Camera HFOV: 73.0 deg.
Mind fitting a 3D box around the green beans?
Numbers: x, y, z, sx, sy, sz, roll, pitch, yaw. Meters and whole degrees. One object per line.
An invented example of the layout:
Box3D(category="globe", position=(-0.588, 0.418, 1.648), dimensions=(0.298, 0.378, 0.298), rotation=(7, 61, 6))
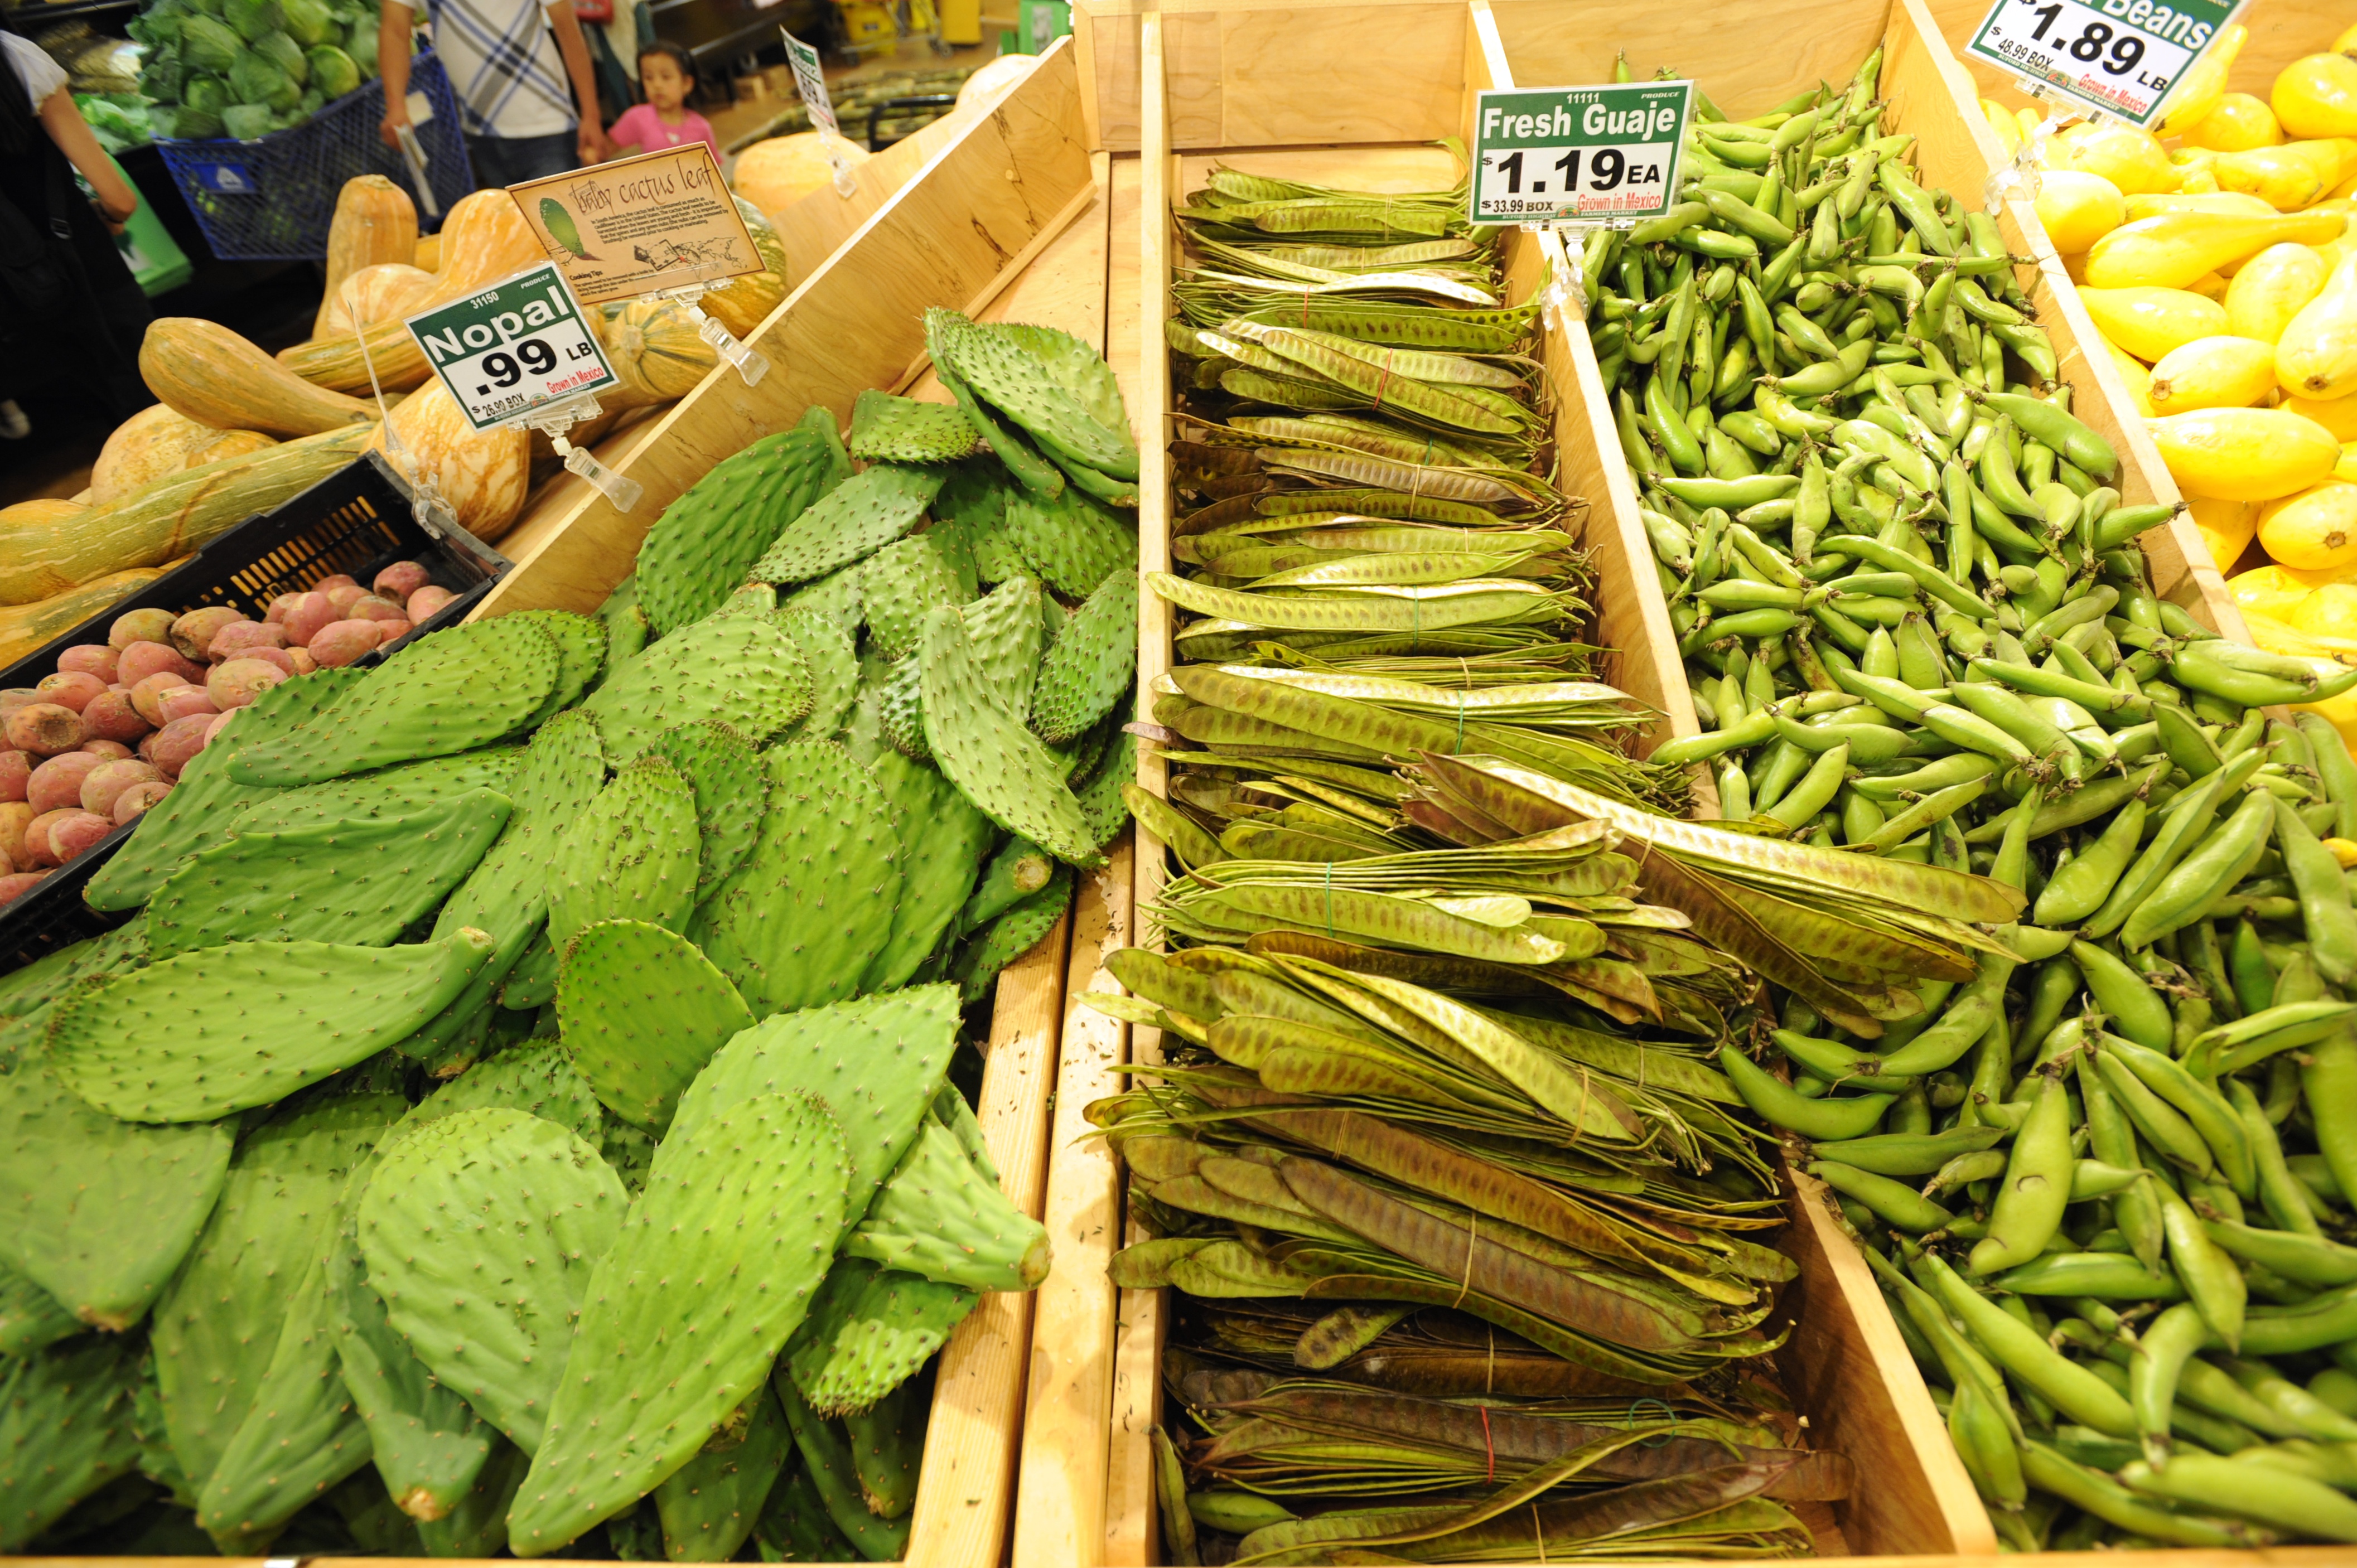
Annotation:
Box3D(category="green beans", position=(0.423, 0.167, 2.257), dimensions=(1.044, 0.762, 1.590), rotation=(0, 44, 3))

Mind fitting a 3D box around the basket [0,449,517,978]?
Box3D(category="basket", position=(-1.612, -0.202, 2.705), dimensions=(0.463, 0.319, 0.877), rotation=(30, 53, 29))
